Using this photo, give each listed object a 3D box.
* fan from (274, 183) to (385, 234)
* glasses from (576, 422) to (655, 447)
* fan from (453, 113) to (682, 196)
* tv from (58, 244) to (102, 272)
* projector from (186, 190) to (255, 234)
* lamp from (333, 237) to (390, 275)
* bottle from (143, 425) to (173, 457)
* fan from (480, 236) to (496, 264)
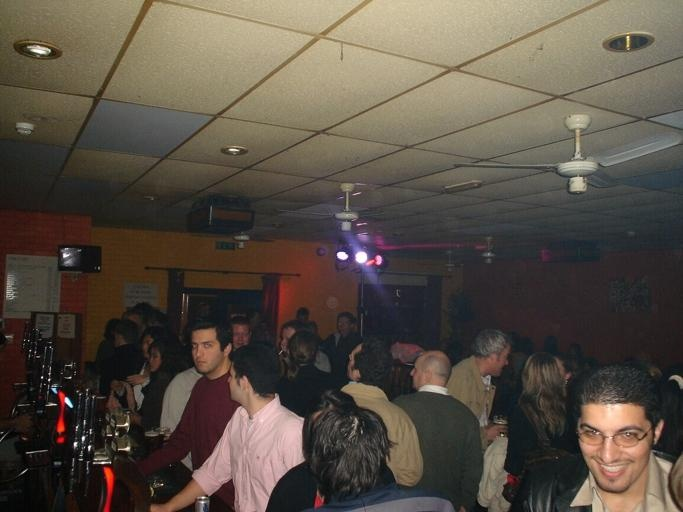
[{"bbox_3d":[-0.029,-0.563,6.822,0.683,0.213,0.673,0,-9,36],"label":"fan"},{"bbox_3d":[1.296,0.850,2.832,0.329,0.103,0.065,-3,-6,7],"label":"glasses"},{"bbox_3d":[1.837,-0.690,4.366,0.892,0.313,0.981,-14,-21,41],"label":"fan"},{"bbox_3d":[-3.721,0.076,8.534,0.743,0.438,0.383,3,-10,-30],"label":"tv"},{"bbox_3d":[-1.357,-0.465,6.826,0.550,0.414,0.612,2,-7,-30],"label":"projector"},{"bbox_3d":[0.258,-0.056,9.809,0.674,0.357,0.864,8,-8,-32],"label":"lamp"},{"bbox_3d":[-1.297,1.296,4.215,0.182,0.148,0.201,7,-17,-21],"label":"bottle"},{"bbox_3d":[2.705,-0.135,11.072,0.377,0.548,0.343,4,-6,-5],"label":"fan"}]
